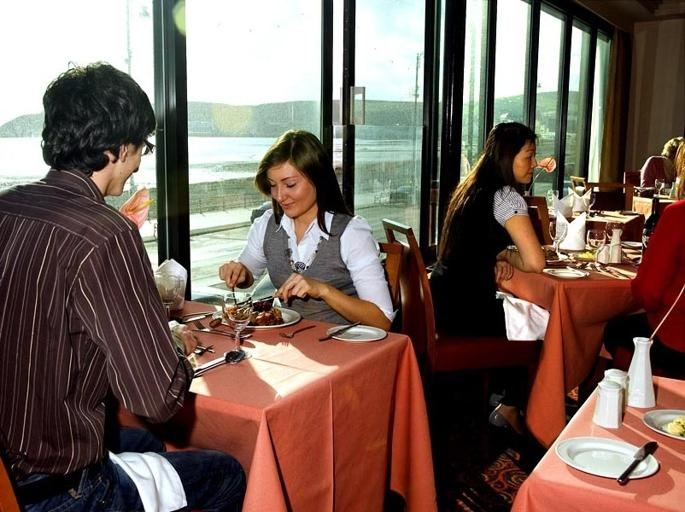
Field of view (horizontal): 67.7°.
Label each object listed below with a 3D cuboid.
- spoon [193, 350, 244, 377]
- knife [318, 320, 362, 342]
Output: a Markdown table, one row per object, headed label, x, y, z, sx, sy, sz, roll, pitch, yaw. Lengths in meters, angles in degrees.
| label | x | y | z | sx | sy | sz | roll | pitch | yaw |
| --- | --- | --- | --- | --- | --- | --- | --- | --- | --- |
| spoon | -0.380 | 0.312 | 1.567 | 0.050 | 0.014 | 0.159 | 8 | 19 | 38 |
| knife | -0.022 | 0.257 | 1.826 | 0.044 | 0.028 | 0.174 | -4 | 6 | 26 |
